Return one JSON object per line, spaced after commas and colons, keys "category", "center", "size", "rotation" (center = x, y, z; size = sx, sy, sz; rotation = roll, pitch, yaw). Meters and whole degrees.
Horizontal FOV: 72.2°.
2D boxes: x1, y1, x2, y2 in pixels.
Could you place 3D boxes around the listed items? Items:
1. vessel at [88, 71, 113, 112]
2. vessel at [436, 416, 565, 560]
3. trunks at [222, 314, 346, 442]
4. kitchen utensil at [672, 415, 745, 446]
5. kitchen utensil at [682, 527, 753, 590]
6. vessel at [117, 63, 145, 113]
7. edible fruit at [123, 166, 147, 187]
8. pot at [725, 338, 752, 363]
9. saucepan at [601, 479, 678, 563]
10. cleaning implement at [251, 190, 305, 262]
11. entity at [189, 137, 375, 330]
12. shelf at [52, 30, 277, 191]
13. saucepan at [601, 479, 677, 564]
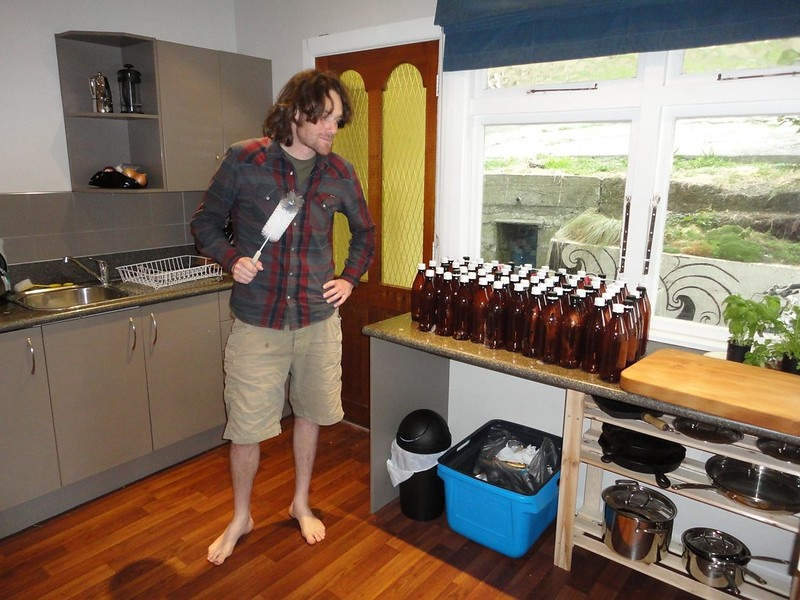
{"category": "vessel", "center": [-1.780, -1.241, 3.268], "size": [0.117, 0.251, 0.279], "rotation": [-6, 16, -26]}
{"category": "vessel", "center": [0.519, 0.927, 2.737], "size": [0.501, 0.415, 0.603], "rotation": [7, 13, 38]}
{"category": "trunks", "center": [-0.527, 0.296, 2.653], "size": [0.624, 0.729, 0.264], "rotation": [-5, 23, -22]}
{"category": "kitchen utensil", "center": [1.198, 0.505, 2.115], "size": [0.139, 0.016, 0.139], "rotation": [-5, 17, -13]}
{"category": "kitchen utensil", "center": [1.336, 1.080, 2.339], "size": [0.241, 0.201, 0.241], "rotation": [11, 17, 34]}
{"category": "vessel", "center": [-1.622, -1.275, 3.310], "size": [0.131, 0.292, 0.266], "rotation": [-6, 16, -26]}
{"category": "edible fruit", "center": [-1.635, -0.763, 3.385], "size": [0.148, 0.122, 0.191], "rotation": [-6, 16, -26]}
{"category": "pot", "center": [1.413, 0.211, 2.301], "size": [0.090, 0.088, 0.081], "rotation": [2, 7, -26]}
{"category": "saucepan", "center": [1.076, 0.973, 2.460], "size": [0.257, 0.225, 0.321], "rotation": [-17, 26, -38]}
{"category": "cleaning implement", "center": [-0.601, -0.289, 2.435], "size": [0.150, 0.020, 0.662], "rotation": [-2, -28, -18]}
{"category": "entity", "center": [-0.588, -0.340, 2.662], "size": [1.072, 1.016, 0.551], "rotation": [-4, 18, -30]}
{"category": "shelf", "center": [-1.251, -1.186, 3.672], "size": [1.413, 0.931, 0.461], "rotation": [17, 26, 26]}
{"category": "saucepan", "center": [1.076, 1.003, 2.502], "size": [0.297, 0.219, 0.329], "rotation": [10, 17, 32]}
